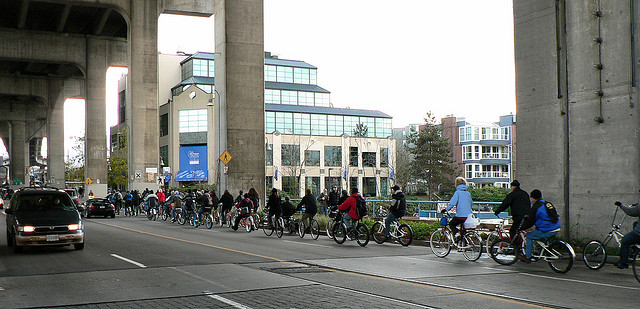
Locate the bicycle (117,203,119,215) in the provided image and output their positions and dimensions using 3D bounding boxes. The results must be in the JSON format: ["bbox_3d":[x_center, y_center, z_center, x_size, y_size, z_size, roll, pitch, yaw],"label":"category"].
[{"bbox_3d":[-22.901,6.123,69.056,0.129,1.099,1.424,-1,5,-17],"label":"bicycle"}]

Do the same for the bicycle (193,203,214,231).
[{"bbox_3d":[-9.513,5.396,49.685,1.361,1.405,2.695,0,1,-38],"label":"bicycle"}]

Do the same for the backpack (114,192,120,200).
[{"bbox_3d":[-23.133,4.852,69.321,0.539,0.722,0.727,-1,6,-19],"label":"backpack"}]

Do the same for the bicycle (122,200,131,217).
[{"bbox_3d":[-20.044,5.783,63.469,0.587,1.357,1.744,-1,5,-18],"label":"bicycle"}]
